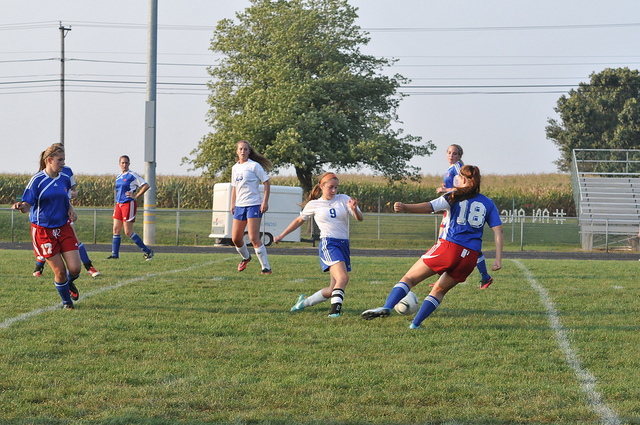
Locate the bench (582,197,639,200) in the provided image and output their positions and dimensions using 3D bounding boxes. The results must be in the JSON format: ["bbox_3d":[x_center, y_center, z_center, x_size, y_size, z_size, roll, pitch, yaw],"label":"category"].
[{"bbox_3d":[11.604,-0.585,41.430,2.140,0.095,0.349,0,2,2],"label":"bench"}]

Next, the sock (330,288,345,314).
[{"bbox_3d":[0.362,1.815,21.649,0.273,0.534,0.165,0,2,4],"label":"sock"}]

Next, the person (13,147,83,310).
[{"bbox_3d":[-5.601,0.316,22.000,1.176,3.387,0.740,-1,2,-19],"label":"person"}]

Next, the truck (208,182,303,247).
[{"bbox_3d":[-2.224,0.044,39.538,4.019,2.843,2.147,-3,5,-28],"label":"truck"}]

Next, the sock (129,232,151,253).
[{"bbox_3d":[-5.412,0.904,31.811,0.228,0.781,0.238,-34,26,24],"label":"sock"}]

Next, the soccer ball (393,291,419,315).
[{"bbox_3d":[1.781,1.816,21.041,0.474,0.406,0.401,-3,33,39],"label":"soccer ball"}]

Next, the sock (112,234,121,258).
[{"bbox_3d":[-5.348,0.872,27.649,0.149,0.608,0.454,-1,2,-12],"label":"sock"}]
